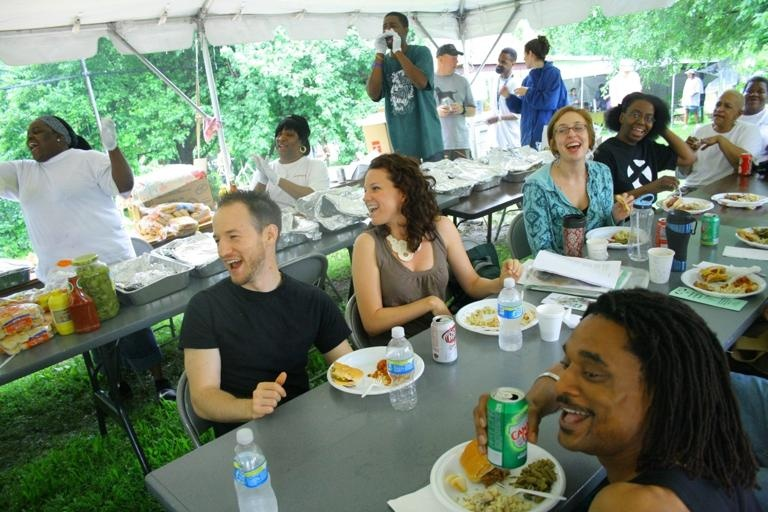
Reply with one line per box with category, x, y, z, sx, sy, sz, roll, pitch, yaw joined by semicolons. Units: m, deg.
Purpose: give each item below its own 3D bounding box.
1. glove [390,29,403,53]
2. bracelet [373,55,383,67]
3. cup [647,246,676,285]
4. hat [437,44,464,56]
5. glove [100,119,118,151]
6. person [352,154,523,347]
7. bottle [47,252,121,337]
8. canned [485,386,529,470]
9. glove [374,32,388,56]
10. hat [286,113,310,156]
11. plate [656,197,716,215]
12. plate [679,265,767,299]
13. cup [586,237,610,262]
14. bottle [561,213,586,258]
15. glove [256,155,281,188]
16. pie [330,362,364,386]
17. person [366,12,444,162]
glove;0.137;-2.095;5.220;0.070;0.189;0.144;-6;11;20
bracelet;-0.053;-1.991;5.455;0.108;0.128;0.180;-5;18;0
cup;1.516;0.054;2.918;0.148;0.150;0.139;-5;19;2
hat;0.831;-2.545;6.739;0.296;0.144;0.179;-2;20;22
glove;-2.022;-0.887;3.925;0.110;0.243;0.284;-14;21;-25
person;0.346;0.108;3.251;1.122;1.407;0.692;-2;20;12
bottle;-1.721;0.212;3.108;0.253;0.392;0.276;-4;19;2
canned;0.444;0.623;1.916;0.160;0.239;0.161;4;8;37
glove;-0.022;-2.119;5.379;0.129;0.189;0.157;-5;19;1
hat;-0.788;-1.138;4.989;0.240;0.341;0.139;-2;10;-11
plate;2.163;-0.350;3.784;0.229;0.040;0.229;18;30;41
plate;1.776;0.136;2.768;0.260;0.065;0.223;1;23;22
cup;1.282;-0.035;3.180;0.098;0.101;0.149;-1;11;15
bottle;1.171;-0.118;3.300;0.151;0.231;0.148;-7;16;2
glove;-1.036;-0.739;4.784;0.188;0.160;0.556;-25;18;-20
pie;-0.171;0.534;2.422;0.104;0.038;0.101;-13;25;-37
person;0.202;-1.723;5.515;0.724;1.489;0.516;0;20;13
